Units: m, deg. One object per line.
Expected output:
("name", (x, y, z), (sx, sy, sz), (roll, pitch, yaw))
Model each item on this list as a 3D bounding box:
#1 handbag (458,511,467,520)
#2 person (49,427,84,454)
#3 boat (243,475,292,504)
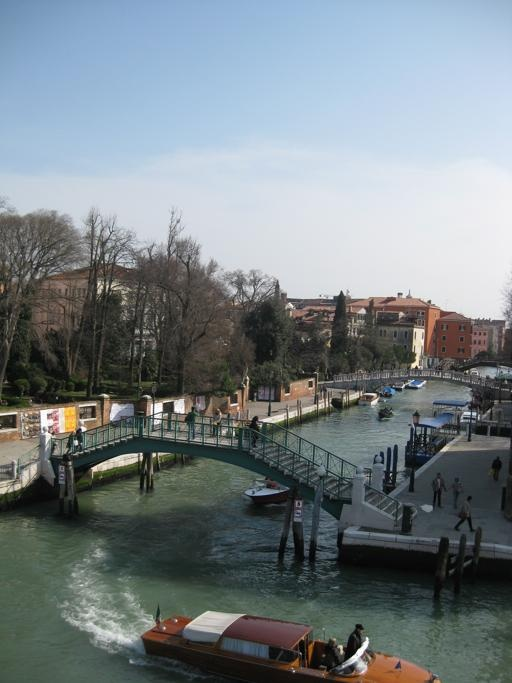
("handbag", (6.083, 5.062, 19.807), (0.243, 0.288, 0.317), (2, 1, 16))
("person", (-7.460, 3.966, 26.783), (1.205, 0.701, 1.184), (1, 1, -12))
("boat", (0.411, 6.103, 27.502), (1.641, 0.820, 1.554), (1, 0, -3))
